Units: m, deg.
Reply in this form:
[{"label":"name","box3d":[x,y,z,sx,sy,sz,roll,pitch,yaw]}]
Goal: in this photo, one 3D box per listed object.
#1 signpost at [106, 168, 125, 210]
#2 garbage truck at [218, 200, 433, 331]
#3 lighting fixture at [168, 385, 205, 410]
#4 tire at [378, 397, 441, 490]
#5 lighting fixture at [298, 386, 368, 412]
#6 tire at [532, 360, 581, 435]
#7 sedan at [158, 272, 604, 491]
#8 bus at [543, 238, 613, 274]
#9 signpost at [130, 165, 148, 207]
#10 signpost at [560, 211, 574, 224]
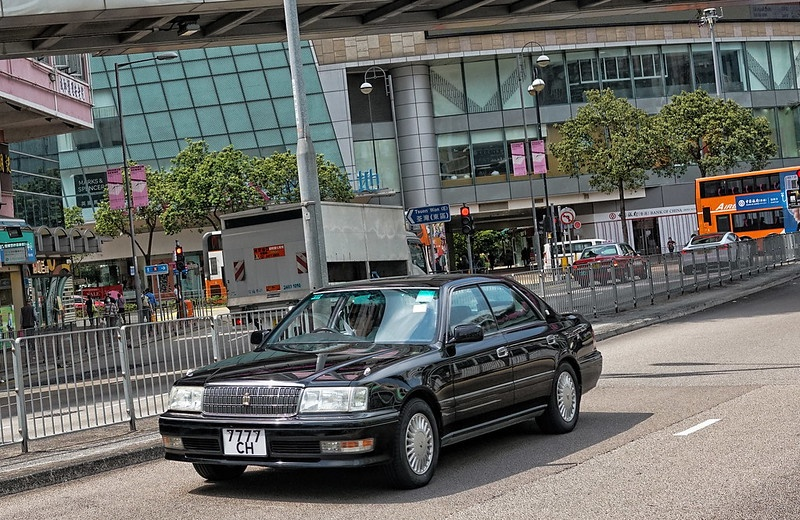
[{"label":"signpost","box3d":[-13.882,-3.460,42.554,0.721,1.998,2.955,-4,5,-18]},{"label":"garbage truck","box3d":[-1.590,-0.021,26.471,6.322,3.109,3.216,-5,0,-41]},{"label":"lighting fixture","box3d":[-2.716,1.762,11.050,0.369,0.222,0.368,1,0,14]},{"label":"tire","box3d":[0.168,2.296,10.854,0.219,1.112,0.842,2,6,45]},{"label":"lighting fixture","box3d":[-0.817,1.699,10.521,0.453,0.171,0.456,-2,-1,41]},{"label":"tire","box3d":[2.291,2.021,12.766,0.375,0.964,0.995,-10,6,38]},{"label":"sedan","box3d":[0.228,1.576,11.967,2.821,1.739,4.970,-7,-6,37]},{"label":"bus","box3d":[9.515,-0.413,49.330,4.959,2.442,3.180,-5,-1,10]},{"label":"signpost","box3d":[-13.162,-3.678,43.879,0.751,2.041,2.135,-4,5,-19]},{"label":"signpost","box3d":[7.521,-1.913,38.952,0.555,0.499,0.774,-2,4,5]}]
